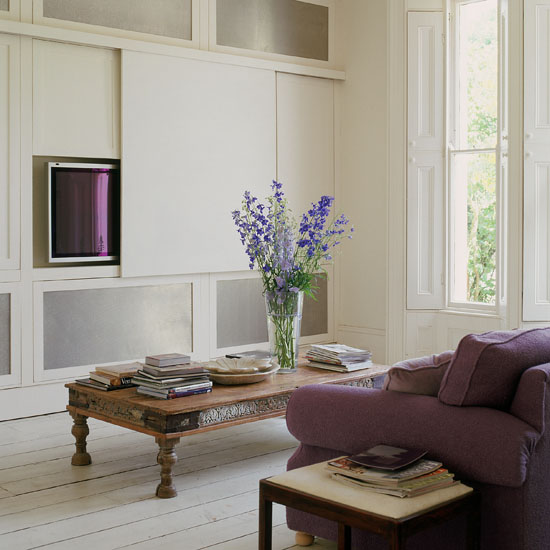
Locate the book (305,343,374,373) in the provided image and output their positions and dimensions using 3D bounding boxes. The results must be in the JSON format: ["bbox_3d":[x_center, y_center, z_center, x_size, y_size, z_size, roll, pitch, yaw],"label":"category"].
[{"bbox_3d":[0.416,0.471,3.266,0.206,0.077,0.202,-2,5,-43],"label":"book"}]

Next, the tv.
[{"bbox_3d":[-1.445,-0.469,4.101,0.108,0.966,0.745,6,9,44],"label":"tv"}]
